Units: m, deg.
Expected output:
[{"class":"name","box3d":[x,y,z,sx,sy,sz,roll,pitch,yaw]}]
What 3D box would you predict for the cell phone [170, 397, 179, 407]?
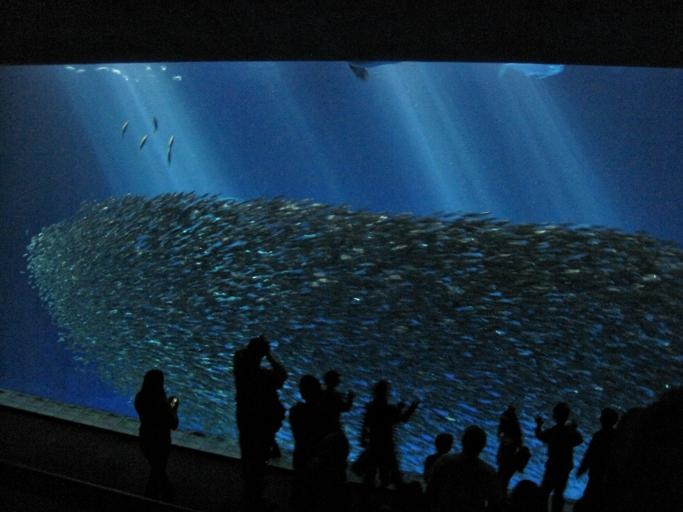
[{"class":"cell phone","box3d":[-1.774,1.553,5.955,0.090,0.042,0.088,7,20,2]}]
